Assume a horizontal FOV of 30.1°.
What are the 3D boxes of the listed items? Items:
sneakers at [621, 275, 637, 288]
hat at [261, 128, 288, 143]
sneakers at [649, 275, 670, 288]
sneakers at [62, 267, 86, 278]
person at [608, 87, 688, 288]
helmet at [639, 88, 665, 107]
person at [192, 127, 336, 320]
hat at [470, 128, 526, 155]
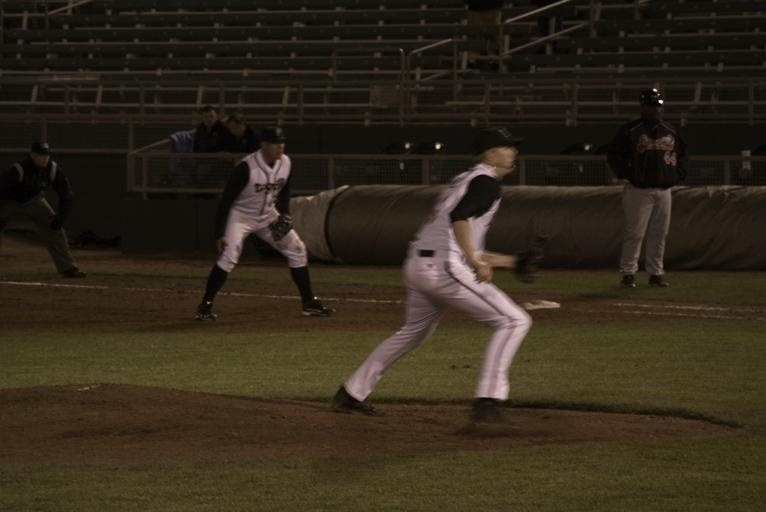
[{"bbox_3d":[4.025,0.390,23.529,0.249,0.181,0.222,-2,13,18],"label":"sneakers"},{"bbox_3d":[-1.601,-1.752,20.559,0.366,0.138,0.240,-1,8,20],"label":"hat"},{"bbox_3d":[4.562,0.400,23.619,0.312,0.159,0.311,6,3,40],"label":"sneakers"},{"bbox_3d":[-5.302,0.271,24.585,0.419,0.161,0.164,-3,-17,-4],"label":"sneakers"},{"bbox_3d":[4.231,-1.090,23.053,1.261,3.200,0.632,3,8,3],"label":"person"},{"bbox_3d":[4.283,-2.539,22.793,0.332,0.266,0.431,2,6,7],"label":"helmet"},{"bbox_3d":[-1.786,-0.480,20.949,1.559,2.811,0.780,-3,9,-35],"label":"person"},{"bbox_3d":[1.400,-1.424,17.394,0.550,0.212,0.307,-11,8,0],"label":"hat"}]
